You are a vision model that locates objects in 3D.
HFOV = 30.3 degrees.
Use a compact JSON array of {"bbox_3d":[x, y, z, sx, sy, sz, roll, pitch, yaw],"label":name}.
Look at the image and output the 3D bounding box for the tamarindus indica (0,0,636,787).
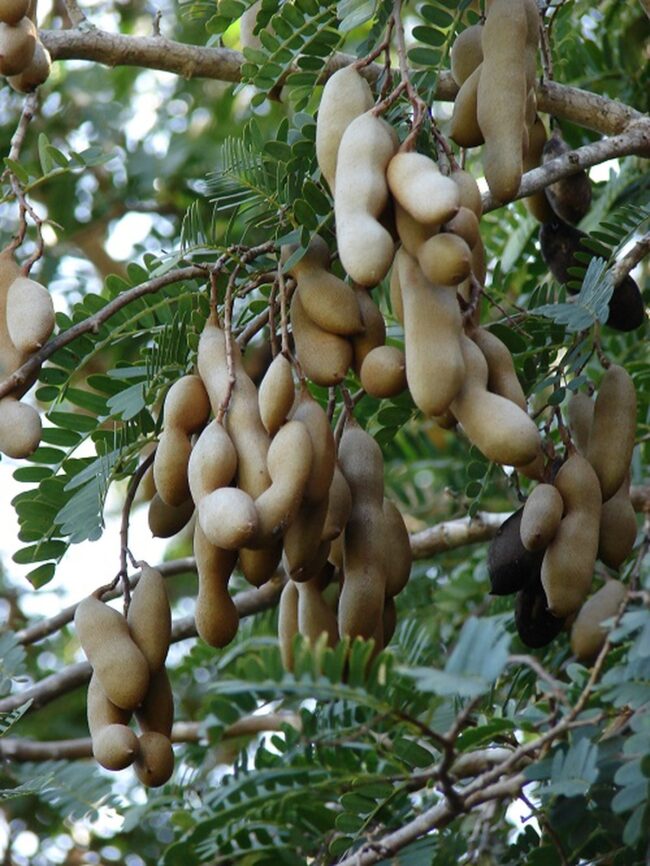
[{"bbox_3d":[0.009,-0.041,1.123,0.606,0.676,0.556,-14,19,-17],"label":"tamarindus indica"}]
